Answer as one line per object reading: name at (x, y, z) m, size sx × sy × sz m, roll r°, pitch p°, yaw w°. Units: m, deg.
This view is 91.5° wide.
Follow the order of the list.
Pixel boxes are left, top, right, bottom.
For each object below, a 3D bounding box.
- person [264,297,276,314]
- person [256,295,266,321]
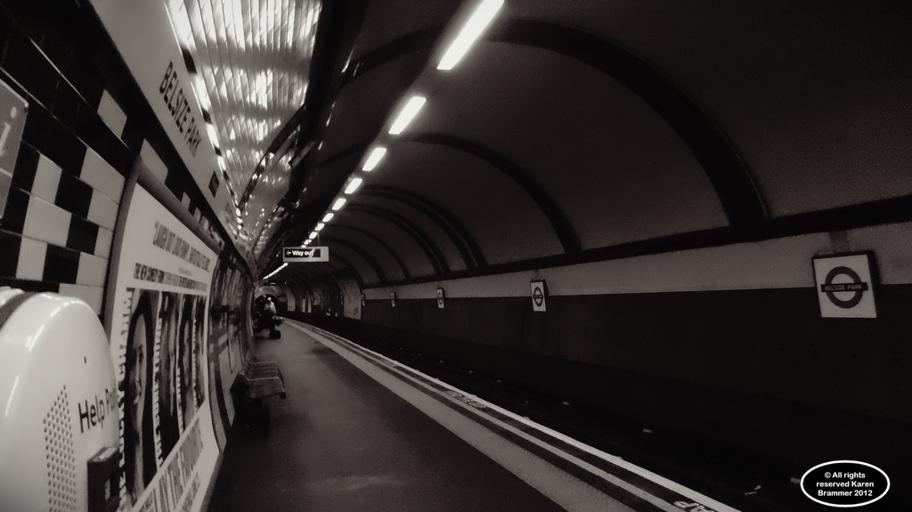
person at (-12.452, 2.872, 29.870) m, size 0.629 × 1.109 × 1.147 m, roll 1°, pitch 0°, yaw -23°
person at (-13.238, 3.126, 30.112) m, size 0.829 × 0.936 × 1.767 m, roll 6°, pitch -32°, yaw -18°
